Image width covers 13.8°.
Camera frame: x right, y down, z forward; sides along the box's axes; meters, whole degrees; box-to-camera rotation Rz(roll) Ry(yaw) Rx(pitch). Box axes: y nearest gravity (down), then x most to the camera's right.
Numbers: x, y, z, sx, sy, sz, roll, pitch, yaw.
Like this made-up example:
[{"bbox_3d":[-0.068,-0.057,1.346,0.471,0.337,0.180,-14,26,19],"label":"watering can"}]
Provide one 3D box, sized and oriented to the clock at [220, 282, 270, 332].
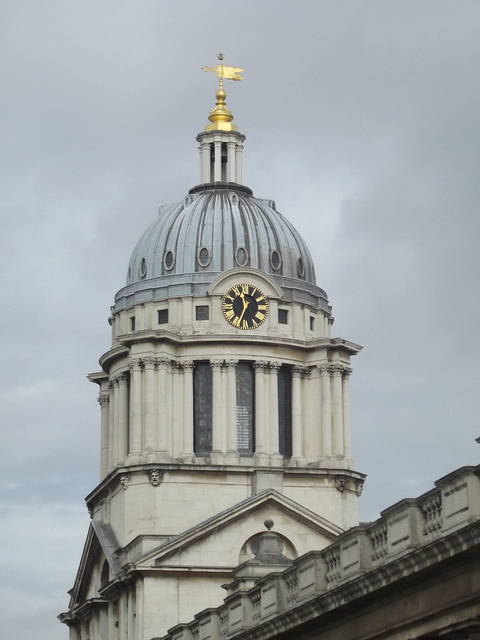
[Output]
[{"bbox_3d":[0.234,-0.434,93.468,1.812,2.438,0.178,-2,-15,-13],"label":"clock"}]
